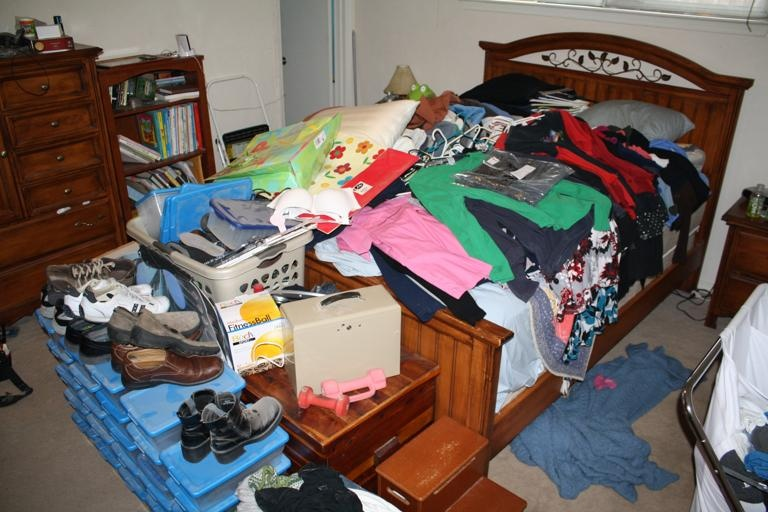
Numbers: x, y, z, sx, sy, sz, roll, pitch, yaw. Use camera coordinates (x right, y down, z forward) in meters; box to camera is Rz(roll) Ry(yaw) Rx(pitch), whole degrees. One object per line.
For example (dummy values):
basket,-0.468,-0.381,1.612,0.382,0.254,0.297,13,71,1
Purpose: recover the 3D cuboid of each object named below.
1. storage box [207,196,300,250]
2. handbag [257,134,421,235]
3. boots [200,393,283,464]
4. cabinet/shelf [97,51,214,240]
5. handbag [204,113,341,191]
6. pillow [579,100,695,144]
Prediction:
storage box,-0.697,-0.177,2.737,0.290,0.107,0.362,31,35,31
handbag,-0.176,-0.413,3.032,0.518,0.121,0.700,33,58,21
boots,-0.595,0.670,2.314,0.167,0.234,0.373,16,28,32
cabinet/shelf,-1.701,-0.920,4.248,0.776,1.222,0.374,-11,30,-18
handbag,-0.643,-0.625,3.335,0.860,0.178,0.902,-27,31,-9
pillow,1.756,-0.960,3.776,0.491,0.143,0.427,26,42,34
